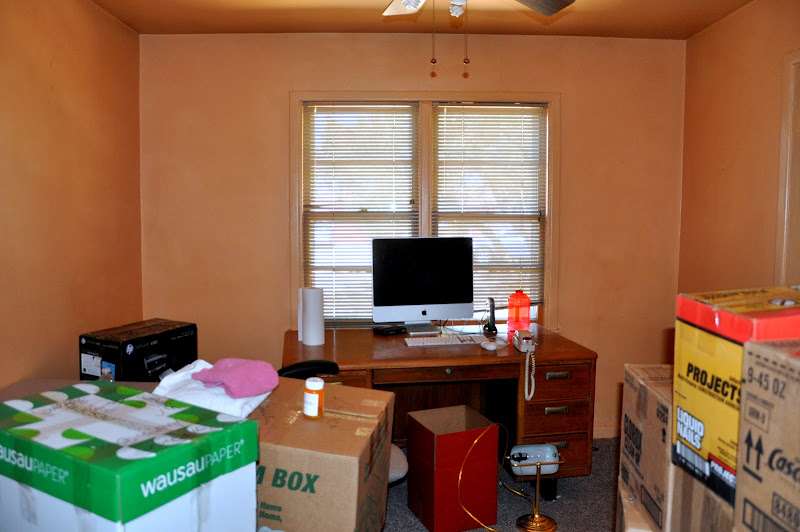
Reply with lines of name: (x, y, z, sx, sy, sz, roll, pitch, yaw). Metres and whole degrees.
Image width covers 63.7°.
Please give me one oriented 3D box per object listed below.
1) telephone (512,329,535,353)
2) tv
telephone: (0.772, 0.468, 3.999, 0.083, 0.073, 0.149, 1, 8, 2)
tv: (0.149, 0.118, 4.323, 0.647, 0.570, 0.276, -1, -1, -8)
